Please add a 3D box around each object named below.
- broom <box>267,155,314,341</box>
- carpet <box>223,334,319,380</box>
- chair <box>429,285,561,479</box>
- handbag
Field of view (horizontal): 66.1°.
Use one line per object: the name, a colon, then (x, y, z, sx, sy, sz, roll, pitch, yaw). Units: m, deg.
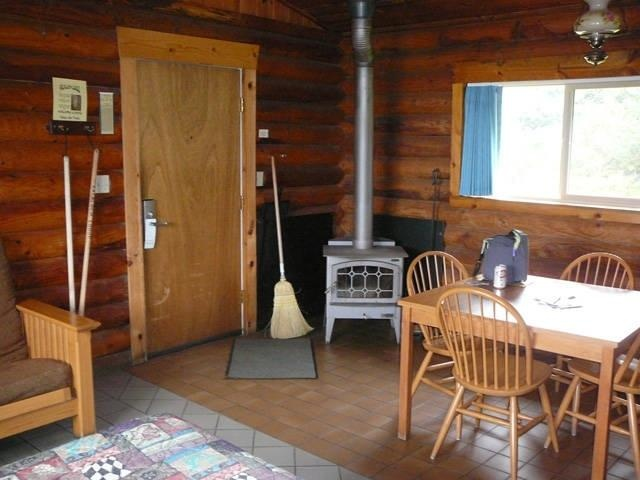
broom: (-0.303, 0.077, 5.080, 0.448, 1.844, 0.677, 0, 15, -3)
carpet: (-0.440, 1.103, 4.632, 0.820, 0.020, 0.986, 3, 9, -3)
chair: (1.169, 0.831, 3.179, 0.781, 1.186, 0.980, 8, 16, 26)
handbag: (1.422, 0.140, 3.926, 0.620, 0.535, 0.292, 3, 0, 41)
